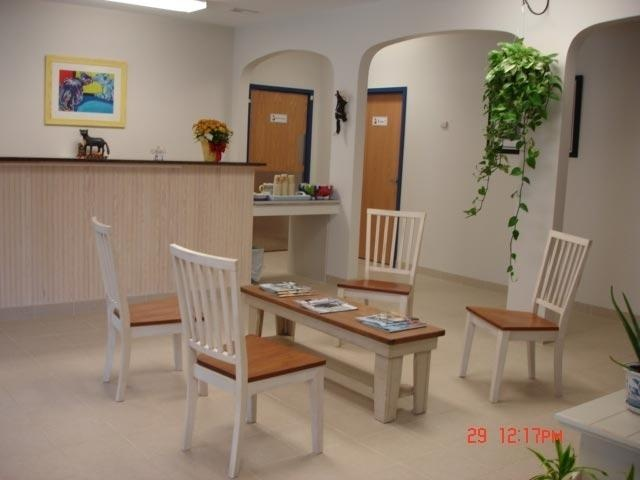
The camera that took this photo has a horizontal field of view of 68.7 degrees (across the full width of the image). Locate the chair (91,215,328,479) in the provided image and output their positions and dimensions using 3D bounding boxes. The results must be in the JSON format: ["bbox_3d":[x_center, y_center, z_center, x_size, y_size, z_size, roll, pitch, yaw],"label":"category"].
[{"bbox_3d":[-0.806,0.683,3.061,0.473,0.860,1.246,-10,15,-39],"label":"chair"}]

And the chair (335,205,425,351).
[{"bbox_3d":[0.572,0.337,4.119,0.715,1.206,0.719,5,5,37],"label":"chair"}]

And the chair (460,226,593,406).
[{"bbox_3d":[1.493,0.523,3.376,0.668,1.113,0.596,0,5,0],"label":"chair"}]

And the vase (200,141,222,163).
[{"bbox_3d":[-1.188,-0.956,5.126,0.207,0.235,0.218,-2,11,-26],"label":"vase"}]

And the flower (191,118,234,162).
[{"bbox_3d":[-1.181,-1.068,5.081,0.368,0.454,0.404,7,21,11],"label":"flower"}]

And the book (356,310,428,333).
[{"bbox_3d":[0.429,0.506,2.885,0.386,0.035,0.321,10,11,34],"label":"book"}]

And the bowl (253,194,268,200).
[{"bbox_3d":[-0.698,-0.502,5.522,0.110,0.076,0.208,11,12,38],"label":"bowl"}]

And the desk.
[{"bbox_3d":[0.052,0.733,3.335,0.465,0.584,1.595,-4,8,-41],"label":"desk"}]
